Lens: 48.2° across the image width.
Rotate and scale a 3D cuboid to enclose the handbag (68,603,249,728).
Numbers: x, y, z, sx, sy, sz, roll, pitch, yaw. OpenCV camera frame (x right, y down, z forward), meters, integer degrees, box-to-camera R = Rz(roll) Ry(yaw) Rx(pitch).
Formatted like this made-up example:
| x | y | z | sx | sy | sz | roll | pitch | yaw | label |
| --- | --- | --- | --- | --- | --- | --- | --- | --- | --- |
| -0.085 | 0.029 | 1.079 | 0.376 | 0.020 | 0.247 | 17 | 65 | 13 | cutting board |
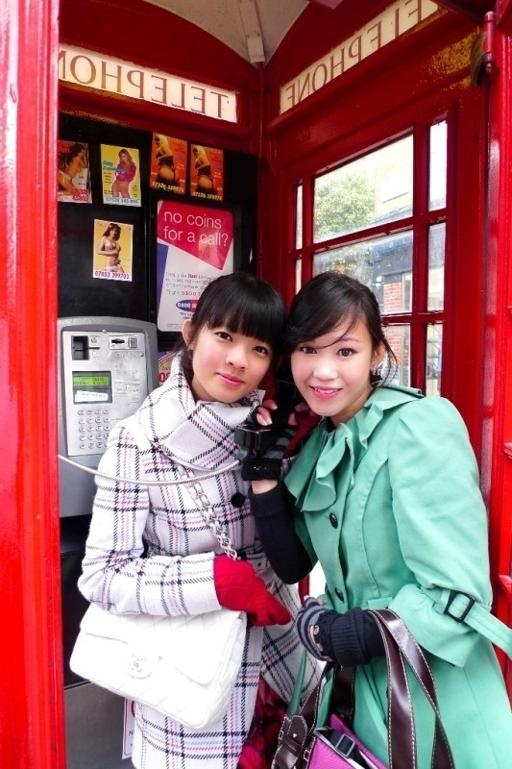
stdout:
| x | y | z | sx | sy | sz | roll | pitch | yaw | label |
| --- | --- | --- | --- | --- | --- | --- | --- | --- | --- |
| -0.178 | 0.460 | 0.986 | 0.300 | 0.139 | 0.140 | 2 | 3 | 19 | handbag |
